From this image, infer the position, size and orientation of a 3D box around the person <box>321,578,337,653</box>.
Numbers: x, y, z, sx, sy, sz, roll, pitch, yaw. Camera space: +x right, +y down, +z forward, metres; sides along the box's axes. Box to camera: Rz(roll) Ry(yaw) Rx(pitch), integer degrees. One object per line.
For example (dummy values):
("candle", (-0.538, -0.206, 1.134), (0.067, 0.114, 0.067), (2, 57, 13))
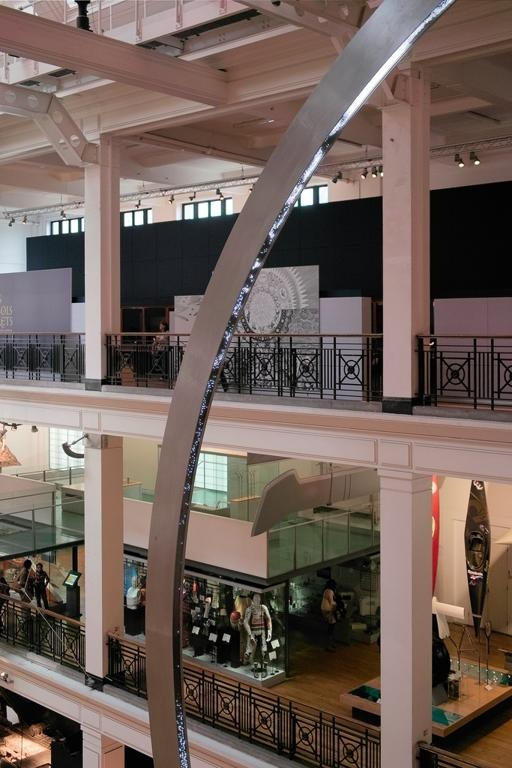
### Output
("person", (1.387, 4.442, 12.304), (0.290, 1.403, 0.650), (0, 1, 8))

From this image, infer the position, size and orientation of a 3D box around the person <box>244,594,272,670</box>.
("person", (0.020, 4.301, 10.969), (0.461, 1.430, 0.407), (-1, 10, -7))
